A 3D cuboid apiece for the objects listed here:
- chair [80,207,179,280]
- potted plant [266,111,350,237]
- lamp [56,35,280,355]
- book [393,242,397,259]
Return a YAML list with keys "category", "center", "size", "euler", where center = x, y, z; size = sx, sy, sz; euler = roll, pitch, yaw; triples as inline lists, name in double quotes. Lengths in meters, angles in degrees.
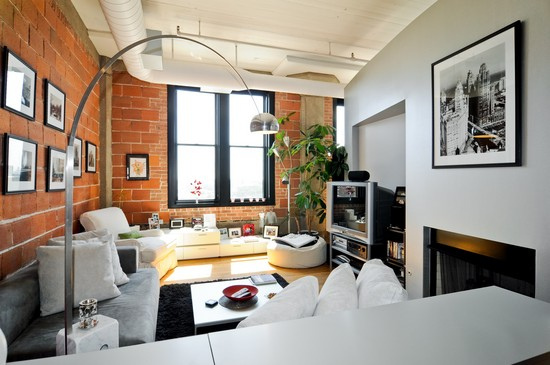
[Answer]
- category: "chair"
  center: [-2.062, 0.851, 5.058]
  size: [1.364, 0.837, 1.390]
  euler: [5, 2, 42]
- category: "potted plant"
  center: [0.516, 0.171, 6.229]
  size: [1.415, 2.752, 1.401]
  euler: [-1, -20, 12]
- category: "lamp"
  center: [-0.814, -0.006, 3.408]
  size: [2.439, 2.571, 1.237]
  euler: [-4, 1, -40]
- category: "book"
  center: [1.492, 0.838, 4.274]
  size: [0.010, 0.118, 0.061]
  euler: [-4, 1, -30]
